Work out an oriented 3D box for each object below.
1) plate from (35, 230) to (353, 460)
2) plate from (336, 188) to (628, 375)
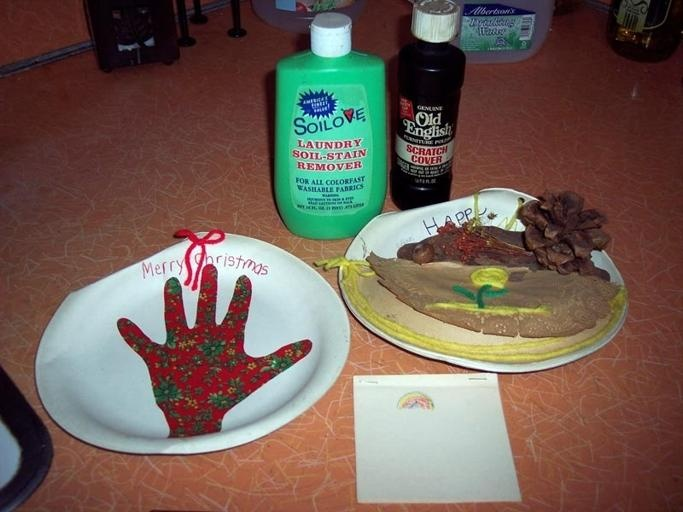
[{"bbox_3d":[-0.151,0.087,0.557,0.290,0.045,0.266,-32,54,-27],"label":"plate"},{"bbox_3d":[0.147,0.026,0.602,0.198,0.040,0.245,14,35,16],"label":"plate"}]
